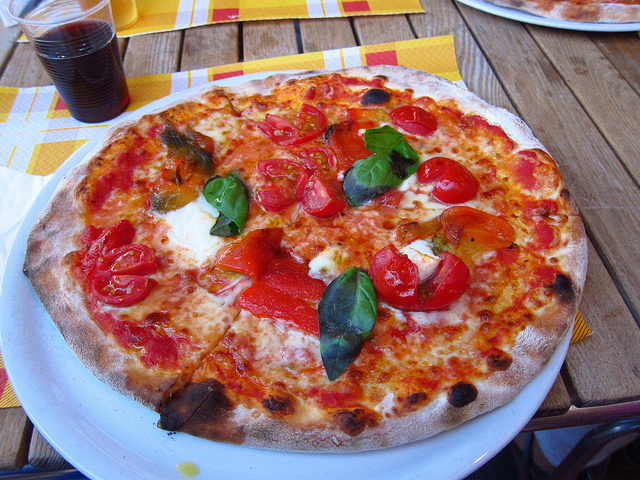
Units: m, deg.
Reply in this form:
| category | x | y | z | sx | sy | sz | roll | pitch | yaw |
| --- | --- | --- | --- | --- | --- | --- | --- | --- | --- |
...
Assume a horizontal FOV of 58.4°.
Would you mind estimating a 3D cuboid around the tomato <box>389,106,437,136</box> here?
| category | x | y | z | sx | sy | sz | roll | pitch | yaw |
| --- | --- | --- | --- | --- | --- | --- | --- | --- | --- |
| tomato | 0.393 | -0.557 | 2.623 | 0.141 | 0.173 | 0.064 | -3 | 68 | 8 |

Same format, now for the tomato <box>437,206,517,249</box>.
| category | x | y | z | sx | sy | sz | roll | pitch | yaw |
| --- | --- | --- | --- | --- | --- | --- | --- | --- | --- |
| tomato | 0.627 | -0.046 | 2.317 | 0.265 | 0.062 | 0.170 | 8 | 62 | -11 |

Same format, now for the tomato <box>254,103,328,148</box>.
| category | x | y | z | sx | sy | sz | roll | pitch | yaw |
| --- | --- | --- | --- | --- | --- | --- | --- | --- | --- |
| tomato | -0.117 | -0.503 | 2.588 | 0.268 | 0.057 | 0.201 | -31 | 60 | -12 |

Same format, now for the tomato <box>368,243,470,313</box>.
| category | x | y | z | sx | sy | sz | roll | pitch | yaw |
| --- | --- | --- | --- | --- | --- | --- | --- | --- | --- |
| tomato | 0.366 | 0.150 | 2.163 | 0.370 | 0.130 | 0.247 | 8 | 71 | 2 |

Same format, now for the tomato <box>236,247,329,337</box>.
| category | x | y | z | sx | sy | sz | roll | pitch | yaw |
| --- | --- | --- | --- | --- | --- | --- | --- | --- | --- |
| tomato | -0.109 | 0.222 | 2.190 | 0.329 | 0.110 | 0.289 | 33 | 73 | 10 |

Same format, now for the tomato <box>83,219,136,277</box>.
| category | x | y | z | sx | sy | sz | roll | pitch | yaw |
| --- | --- | --- | --- | --- | --- | --- | --- | --- | --- |
| tomato | -0.840 | 0.022 | 2.336 | 0.127 | 0.054 | 0.228 | 29 | 66 | 17 |
